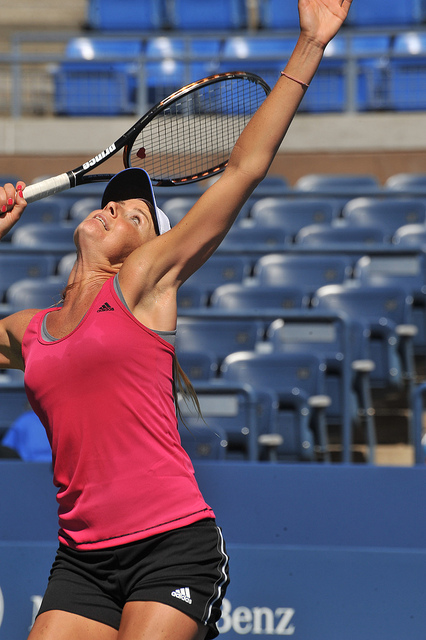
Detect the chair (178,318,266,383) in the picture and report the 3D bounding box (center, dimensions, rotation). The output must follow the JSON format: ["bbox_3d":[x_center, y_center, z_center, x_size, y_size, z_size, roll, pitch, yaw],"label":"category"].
[{"bbox_3d":[0.007,0.126,5.314,0.430,0.439,0.345,0,8,9],"label":"chair"}]

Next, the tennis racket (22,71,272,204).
[{"bbox_3d":[-0.138,-0.618,3.408,0.719,0.535,1.158,1,1,7],"label":"tennis racket"}]

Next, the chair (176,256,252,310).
[{"bbox_3d":[-0.031,-0.242,6.642,0.495,0.380,0.387,6,14,25],"label":"chair"}]

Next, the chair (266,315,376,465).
[{"bbox_3d":[0.646,0.375,5.413,0.807,0.958,0.724,-1,-10,7],"label":"chair"}]

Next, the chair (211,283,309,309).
[{"bbox_3d":[0.280,-0.138,6.131,0.559,0.133,0.130,1,1,9],"label":"chair"}]

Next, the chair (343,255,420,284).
[{"bbox_3d":[1.121,-0.348,6.620,0.556,0.186,0.309,1,8,29],"label":"chair"}]

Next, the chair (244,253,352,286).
[{"bbox_3d":[0.573,-0.327,6.636,0.691,0.212,0.344,-2,10,-21],"label":"chair"}]

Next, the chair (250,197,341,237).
[{"bbox_3d":[0.703,-0.890,8.299,0.814,0.356,0.402,-3,10,-28],"label":"chair"}]

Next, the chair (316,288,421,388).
[{"bbox_3d":[1.027,0.065,6.067,0.775,0.653,0.577,-1,-7,10],"label":"chair"}]

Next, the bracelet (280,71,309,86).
[{"bbox_3d":[0.200,-0.592,2.469,0.065,0.007,0.009,30,19,-9],"label":"bracelet"}]

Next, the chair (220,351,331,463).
[{"bbox_3d":[0.276,0.424,4.872,0.570,0.614,0.407,-3,-17,12],"label":"chair"}]

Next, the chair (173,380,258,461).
[{"bbox_3d":[0.042,0.383,4.653,0.453,0.418,0.358,3,11,12],"label":"chair"}]
